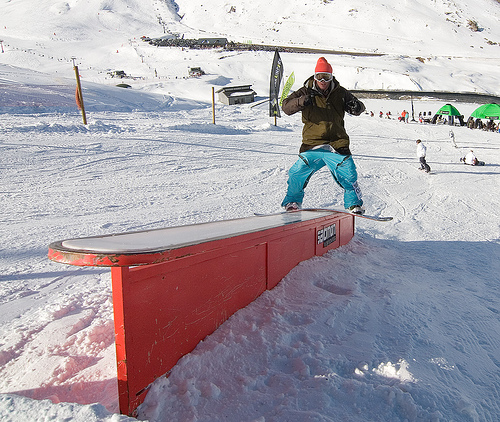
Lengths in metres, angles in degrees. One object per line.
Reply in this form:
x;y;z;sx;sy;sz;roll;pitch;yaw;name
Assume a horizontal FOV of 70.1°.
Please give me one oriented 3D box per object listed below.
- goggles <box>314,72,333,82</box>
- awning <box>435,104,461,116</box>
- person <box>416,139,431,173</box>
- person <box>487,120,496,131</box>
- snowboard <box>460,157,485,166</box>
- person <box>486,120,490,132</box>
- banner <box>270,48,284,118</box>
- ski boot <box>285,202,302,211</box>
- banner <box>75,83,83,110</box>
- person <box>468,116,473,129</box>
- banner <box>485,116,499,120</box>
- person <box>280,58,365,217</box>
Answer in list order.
0.825;-1.500;4.010;0.200;0.094;0.197;2;17;9;goggles
15.791;-7.911;28.218;1.466;0.602;1.309;18;29;42;awning
5.887;-1.874;12.095;0.487;0.994;1.105;7;19;22;person
16.597;-5.870;24.538;0.475;0.705;0.593;9;21;27;person
8.373;-1.865;13.374;0.833;0.207;0.448;3;-1;17;snowboard
16.461;-5.844;24.693;0.198;0.569;0.750;10;21;29;person
1.448;-6.675;19.031;0.736;3.159;0.127;13;27;24;banner
0.566;-0.060;4.558;0.152;0.083;0.108;3;-3;-22;ski boot
-6.447;-4.203;13.381;0.117;0.826;2.408;-10;19;-24;banner
16.365;-6.590;26.427;0.349;0.838;1.505;10;20;29;person
16.332;-6.286;24.026;0.790;0.179;0.725;13;21;37;banner
0.886;-0.841;4.260;1.013;1.820;0.532;0;19;4;person
